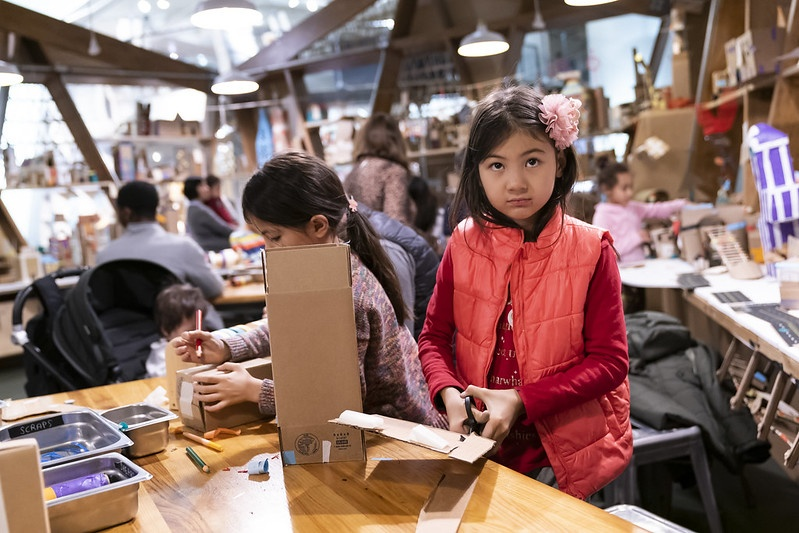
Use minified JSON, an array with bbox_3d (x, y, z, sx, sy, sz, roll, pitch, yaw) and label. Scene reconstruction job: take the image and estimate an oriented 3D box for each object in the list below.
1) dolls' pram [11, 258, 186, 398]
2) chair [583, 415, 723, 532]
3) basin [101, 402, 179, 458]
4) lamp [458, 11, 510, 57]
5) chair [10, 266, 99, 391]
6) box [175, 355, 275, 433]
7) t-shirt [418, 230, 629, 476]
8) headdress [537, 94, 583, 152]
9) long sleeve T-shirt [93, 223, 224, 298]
[{"bbox_3d":[-1.738,0.234,3.295,0.894,0.954,0.699,-3,5,37],"label":"dolls' pram"},{"bbox_3d":[1.158,0.945,2.671,0.503,0.485,0.499,-3,4,11],"label":"chair"},{"bbox_3d":[-0.880,0.528,1.962,0.162,0.087,0.228,-5,4,-34],"label":"basin"},{"bbox_3d":[0.802,-2.189,5.595,0.464,0.316,0.490,0,15,8],"label":"lamp"},{"bbox_3d":[-1.725,0.360,2.920,0.344,0.703,0.788,-12,10,-33],"label":"chair"},{"bbox_3d":[-0.628,0.473,2.110,0.292,0.177,0.289,-4,6,-31],"label":"box"},{"bbox_3d":[0.368,0.222,1.995,0.784,0.746,0.448,4,11,34],"label":"t-shirt"},{"bbox_3d":[0.536,-0.480,1.899,0.199,0.186,0.088,-11,9,-28],"label":"headdress"},{"bbox_3d":[-1.617,0.134,3.980,0.868,0.713,0.468,0,-34,-19],"label":"long sleeve T-shirt"}]
